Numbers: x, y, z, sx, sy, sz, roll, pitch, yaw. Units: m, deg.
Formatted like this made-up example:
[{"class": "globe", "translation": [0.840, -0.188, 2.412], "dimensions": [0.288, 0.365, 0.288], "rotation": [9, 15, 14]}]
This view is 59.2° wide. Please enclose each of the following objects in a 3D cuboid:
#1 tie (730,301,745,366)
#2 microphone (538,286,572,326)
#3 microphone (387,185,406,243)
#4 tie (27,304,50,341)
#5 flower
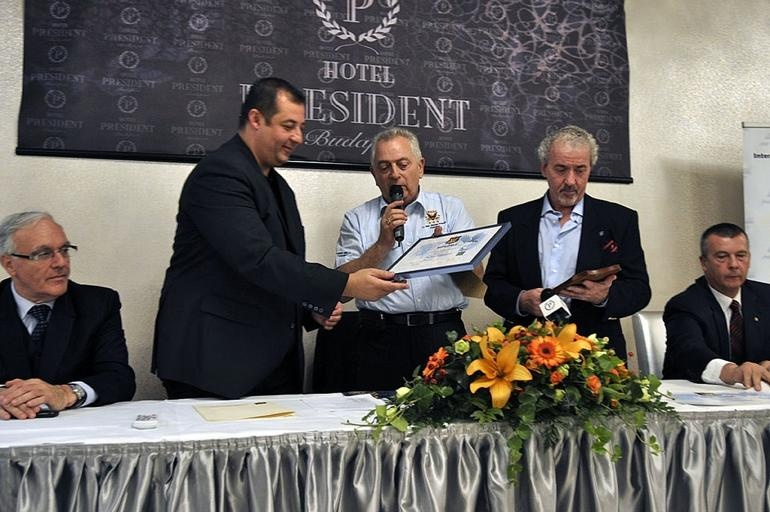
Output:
[{"class": "tie", "translation": [1.863, 0.403, 3.581], "dimensions": [0.070, 0.324, 0.136], "rotation": [0, 1, 26]}, {"class": "microphone", "translation": [0.799, 0.240, 3.185], "dimensions": [0.181, 0.167, 0.325], "rotation": [-5, 1, 9]}, {"class": "microphone", "translation": [0.064, -0.213, 3.387], "dimensions": [0.078, 0.289, 0.078], "rotation": [1, -36, -1]}, {"class": "tie", "translation": [-1.553, 0.304, 3.050], "dimensions": [0.105, 0.157, 0.045], "rotation": [12, -2, 3]}, {"class": "flower", "translation": [0.525, 0.499, 2.543], "dimensions": [0.794, 0.312, 0.763], "rotation": [1, -6, -36]}]
